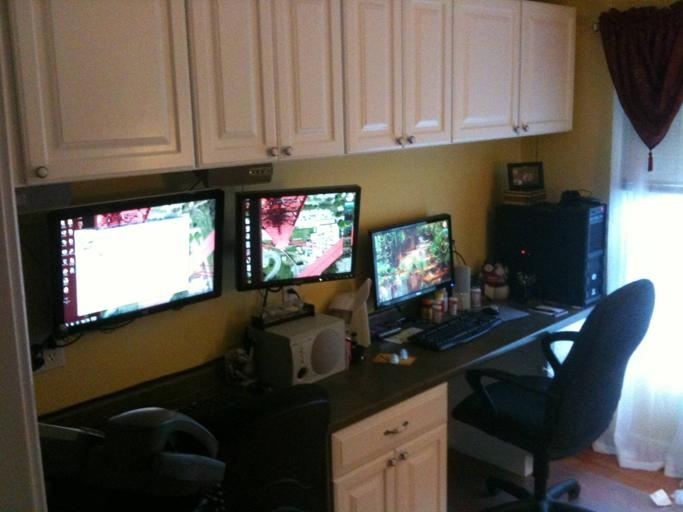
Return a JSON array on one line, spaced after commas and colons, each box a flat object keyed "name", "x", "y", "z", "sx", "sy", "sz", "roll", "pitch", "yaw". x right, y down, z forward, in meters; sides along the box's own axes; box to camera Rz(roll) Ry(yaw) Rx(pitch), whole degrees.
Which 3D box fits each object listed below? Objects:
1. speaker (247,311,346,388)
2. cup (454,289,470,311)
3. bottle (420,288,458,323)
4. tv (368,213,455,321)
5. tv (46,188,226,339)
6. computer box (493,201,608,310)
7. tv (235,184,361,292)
[{"name": "speaker", "x": -0.193, "y": 0.377, "z": 2.585, "sx": 0.263, "sy": 0.243, "sz": 0.380, "roll": 5, "pitch": 12, "yaw": 38}, {"name": "cup", "x": 0.695, "y": 0.250, "z": 3.377, "sx": 0.100, "sy": 0.115, "sz": 0.102, "roll": 0, "pitch": 1, "yaw": 0}, {"name": "bottle", "x": 0.545, "y": 0.276, "z": 3.286, "sx": 0.099, "sy": 0.132, "sz": 0.338, "roll": 1, "pitch": 7, "yaw": 22}, {"name": "tv", "x": 0.358, "y": 0.062, "z": 3.188, "sx": 0.521, "sy": 0.381, "sz": 0.068, "roll": -16, "pitch": 17, "yaw": -40}, {"name": "tv", "x": -0.790, "y": 0.010, "z": 2.237, "sx": 0.051, "sy": 0.401, "sz": 0.576, "roll": 15, "pitch": 19, "yaw": 42}, {"name": "computer box", "x": 1.201, "y": -0.037, "z": 3.440, "sx": 0.718, "sy": 0.715, "sz": 0.418, "roll": 4, "pitch": 7, "yaw": 29}, {"name": "tv", "x": -0.208, "y": -0.093, "z": 2.655, "sx": 0.478, "sy": 0.340, "sz": 0.048, "roll": -7, "pitch": 19, "yaw": -29}]
